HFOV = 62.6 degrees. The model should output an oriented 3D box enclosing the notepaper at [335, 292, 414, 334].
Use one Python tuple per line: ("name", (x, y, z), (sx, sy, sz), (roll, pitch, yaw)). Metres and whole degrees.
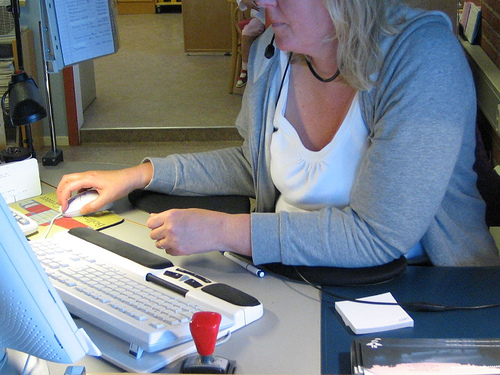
("notepaper", (0.244, 0.248, 0.805), (0.129, 0.020, 0.086), (-5, 27, -10))
